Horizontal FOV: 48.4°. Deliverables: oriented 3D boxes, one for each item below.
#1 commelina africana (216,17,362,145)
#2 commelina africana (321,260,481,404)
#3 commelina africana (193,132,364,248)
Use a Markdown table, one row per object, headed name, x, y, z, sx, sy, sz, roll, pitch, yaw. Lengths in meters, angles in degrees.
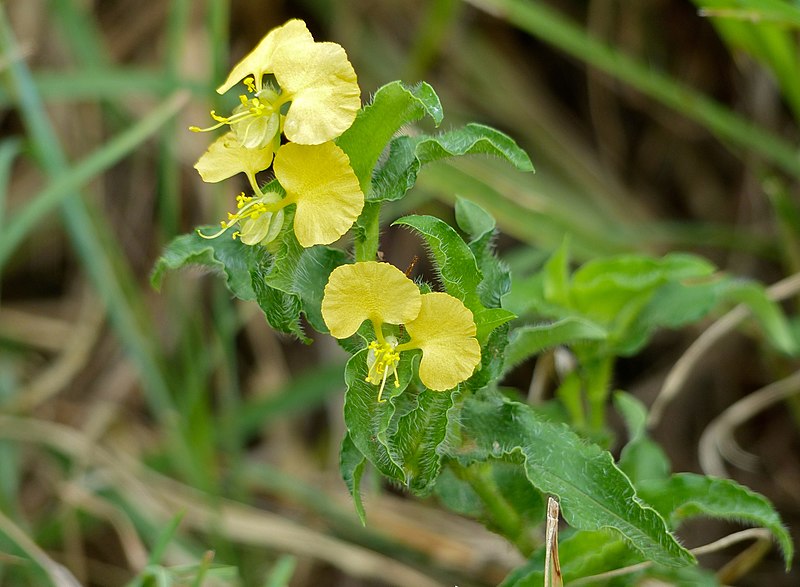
| name | x | y | z | sx | sy | sz | roll | pitch | yaw |
| --- | --- | --- | --- | --- | --- | --- | --- | --- | --- |
| commelina africana | -0.216 | -0.433 | 1.915 | 0.265 | 0.303 | 0.059 | -18 | -15 | 20 |
| commelina africana | 0.002 | 0.075 | 1.892 | 0.336 | 0.253 | 0.079 | 3 | 24 | 2 |
| commelina africana | -0.239 | -0.199 | 1.931 | 0.323 | 0.248 | 0.109 | 3 | 24 | 4 |
